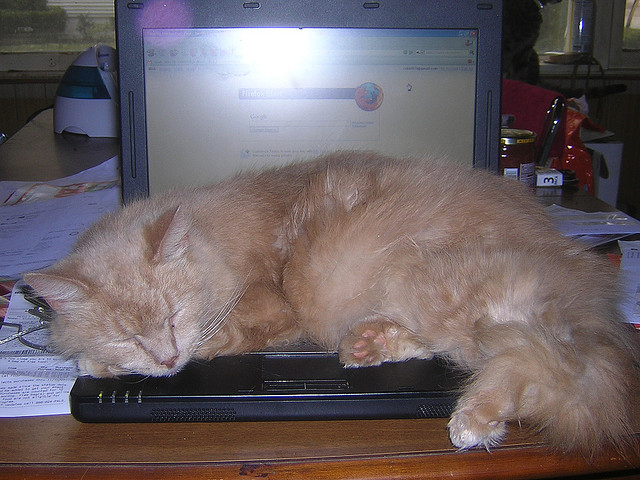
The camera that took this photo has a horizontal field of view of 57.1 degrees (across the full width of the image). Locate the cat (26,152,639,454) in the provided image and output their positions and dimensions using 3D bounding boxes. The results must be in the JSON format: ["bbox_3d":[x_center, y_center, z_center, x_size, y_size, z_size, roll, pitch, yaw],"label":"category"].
[{"bbox_3d":[0.045,0.087,1.068,0.788,0.242,0.600,0,15,-18],"label":"cat"}]
